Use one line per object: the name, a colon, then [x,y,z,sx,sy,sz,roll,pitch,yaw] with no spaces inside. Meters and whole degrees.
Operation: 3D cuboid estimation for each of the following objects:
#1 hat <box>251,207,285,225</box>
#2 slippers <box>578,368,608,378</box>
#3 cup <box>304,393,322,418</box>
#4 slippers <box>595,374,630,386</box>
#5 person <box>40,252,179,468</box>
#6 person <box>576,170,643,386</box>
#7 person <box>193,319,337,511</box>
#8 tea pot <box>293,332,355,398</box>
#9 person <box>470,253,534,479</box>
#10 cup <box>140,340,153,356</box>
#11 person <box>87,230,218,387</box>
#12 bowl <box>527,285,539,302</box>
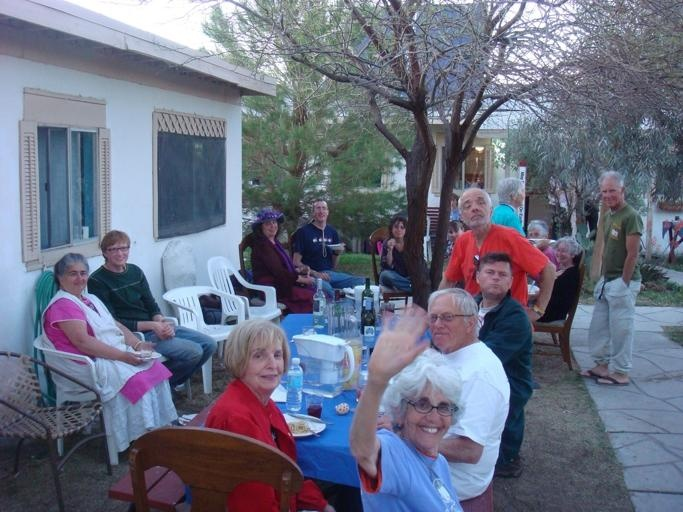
hat: [-1.114,-0.628,8.821,0.521,0.296,0.635,-1,1,-5]
slippers: [2.915,1.320,6.661,0.225,0.080,0.117,-1,4,29]
cup: [-0.182,0.968,3.701,0.079,0.114,0.105,-2,-6,5]
slippers: [3.047,1.343,6.442,0.270,0.098,0.156,2,3,13]
person: [-2.071,0.840,5.081,0.873,1.833,0.758,-6,4,8]
person: [3.003,0.252,6.387,0.550,2.321,0.745,-1,1,-15]
person: [-0.449,0.898,3.712,0.909,1.461,0.867,-3,-1,10]
tea pot: [-0.142,0.744,4.018,0.424,0.464,0.273,5,12,26]
person: [1.104,0.820,4.351,0.651,1.667,0.626,0,2,-11]
cup: [-1.708,0.820,5.092,0.101,0.114,0.092,3,-2,0]
person: [-1.856,0.552,5.711,1.119,1.673,0.668,1,10,15]
bowl: [2.249,0.427,6.786,0.208,0.074,0.225,-9,11,2]
